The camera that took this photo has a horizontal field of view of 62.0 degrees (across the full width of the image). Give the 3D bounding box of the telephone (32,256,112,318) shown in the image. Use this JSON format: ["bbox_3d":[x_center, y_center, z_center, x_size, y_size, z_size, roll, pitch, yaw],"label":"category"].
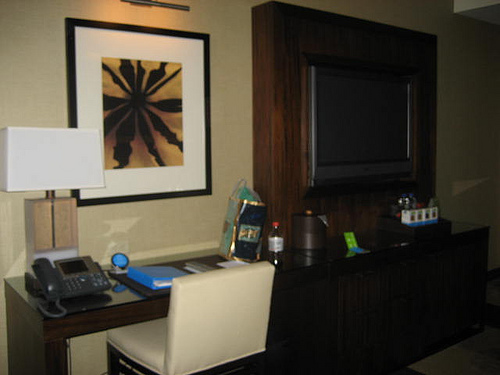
[{"bbox_3d":[-0.860,0.417,2.034,0.312,0.248,0.329,-2,11,-41],"label":"telephone"}]

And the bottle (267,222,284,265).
[{"bbox_3d":[0.169,0.363,2.777,0.100,0.270,0.103,-2,-5,0],"label":"bottle"}]

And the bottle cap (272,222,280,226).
[{"bbox_3d":[0.173,0.237,2.717,0.035,0.024,0.036,1,-2,-34],"label":"bottle cap"}]

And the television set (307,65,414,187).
[{"bbox_3d":[0.905,-0.487,3.311,1.170,0.887,0.056,-6,5,-33],"label":"television set"}]

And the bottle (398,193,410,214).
[{"bbox_3d":[1.273,0.138,3.447,0.090,0.149,0.049,-1,-5,-11],"label":"bottle"}]

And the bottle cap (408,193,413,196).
[{"bbox_3d":[1.318,0.057,3.414,0.019,0.022,0.020,2,2,22],"label":"bottle cap"}]

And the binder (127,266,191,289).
[{"bbox_3d":[-0.502,0.430,2.273,0.324,0.082,0.306,0,11,-41],"label":"binder"}]

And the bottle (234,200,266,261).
[{"bbox_3d":[0.015,0.269,2.569,0.220,0.384,0.111,-6,6,-41],"label":"bottle"}]

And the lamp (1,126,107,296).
[{"bbox_3d":[-1.066,0.093,2.248,0.453,0.972,0.425,-1,2,-35],"label":"lamp"}]

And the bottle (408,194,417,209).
[{"bbox_3d":[1.341,0.116,3.430,0.063,0.129,0.104,-1,4,22],"label":"bottle"}]

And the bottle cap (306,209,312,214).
[{"bbox_3d":[0.414,0.167,2.907,0.029,0.030,0.032,1,-4,7],"label":"bottle cap"}]
